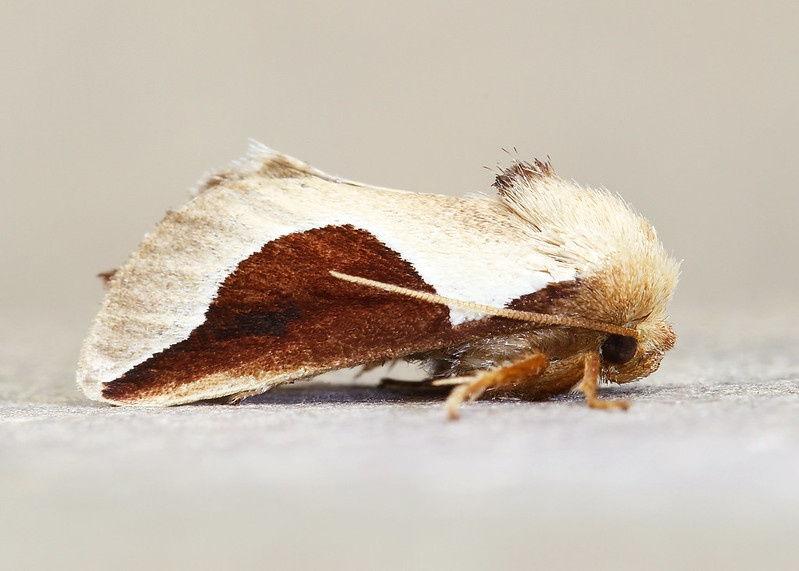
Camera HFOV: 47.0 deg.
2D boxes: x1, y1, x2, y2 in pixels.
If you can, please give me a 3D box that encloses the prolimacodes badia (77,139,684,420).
[{"bbox_3d":[-0.054,-0.025,2.350,1.458,0.689,0.335,-1,-20,10],"label":"prolimacodes badia"}]
